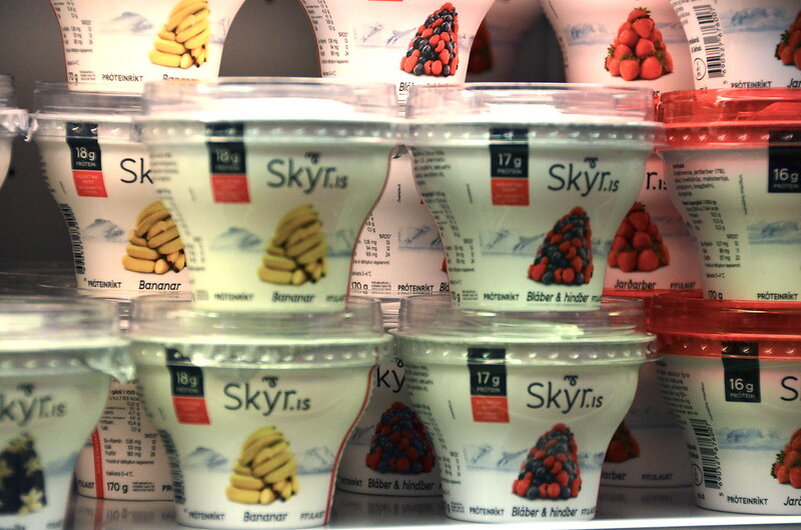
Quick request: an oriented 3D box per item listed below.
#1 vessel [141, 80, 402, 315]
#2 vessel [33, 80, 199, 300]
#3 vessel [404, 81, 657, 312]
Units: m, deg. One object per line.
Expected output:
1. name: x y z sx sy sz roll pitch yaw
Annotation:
1. vessel: -0.253 -0.124 1.213 0.410 0.317 0.416 0 0 42
2. vessel: -0.567 -0.152 1.457 0.412 0.400 0.425 6 0 33
3. vessel: 0.242 -0.138 1.350 0.507 0.391 0.490 -6 8 -33
